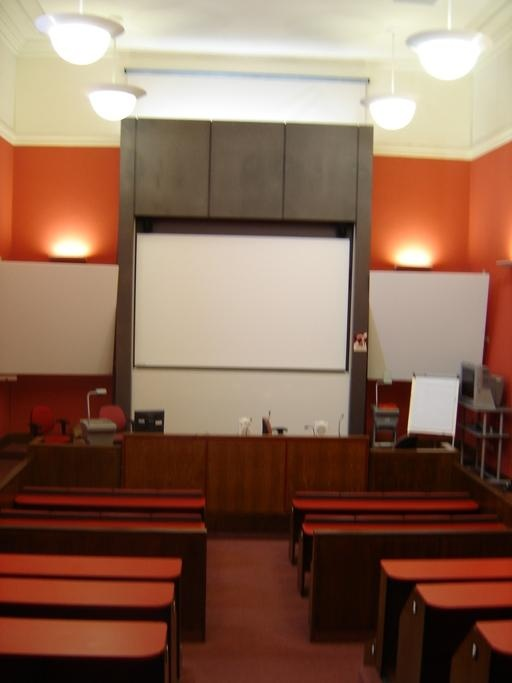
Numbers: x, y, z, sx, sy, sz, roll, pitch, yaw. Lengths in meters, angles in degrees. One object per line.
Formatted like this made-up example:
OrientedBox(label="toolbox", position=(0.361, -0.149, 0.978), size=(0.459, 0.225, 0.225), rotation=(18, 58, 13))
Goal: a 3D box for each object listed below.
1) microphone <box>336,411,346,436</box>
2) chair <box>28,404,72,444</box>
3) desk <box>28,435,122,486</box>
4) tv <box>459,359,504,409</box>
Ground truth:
OrientedBox(label="microphone", position=(1.099, 1.098, 7.361), size=(0.094, 0.297, 0.321), rotation=(2, 4, 8))
OrientedBox(label="chair", position=(-2.692, 1.066, 7.302), size=(0.329, 0.689, 0.438), rotation=(1, -1, -6))
OrientedBox(label="desk", position=(-1.793, 1.163, 5.136), size=(0.278, 0.461, 0.585), rotation=(-17, -19, 27))
OrientedBox(label="tv", position=(2.789, 0.371, 7.017), size=(0.312, 0.576, 0.678), rotation=(-1, 4, -6))
